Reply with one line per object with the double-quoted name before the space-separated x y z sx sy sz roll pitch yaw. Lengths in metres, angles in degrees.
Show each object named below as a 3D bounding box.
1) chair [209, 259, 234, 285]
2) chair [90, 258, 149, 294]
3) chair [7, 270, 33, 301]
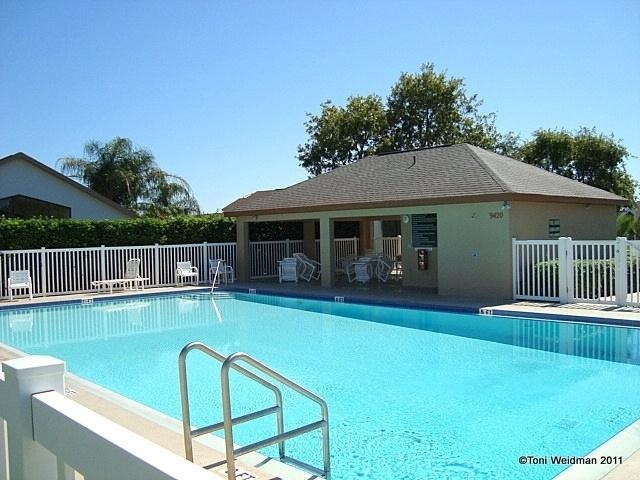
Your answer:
"chair" -4.338 1.414 19.443 0.988 1.432 1.089 0 1 41
"chair" -7.764 1.360 17.200 1.720 1.178 1.688 -2 2 -32
"chair" -10.379 1.548 15.189 0.950 1.250 0.891 0 -3 -29
